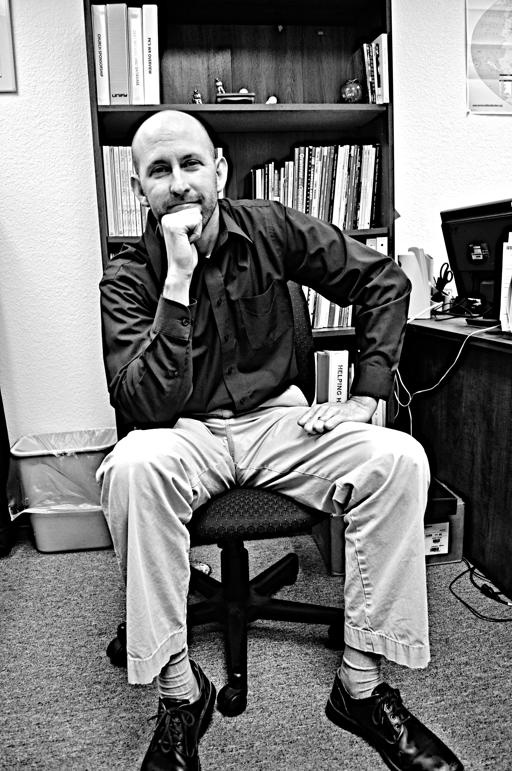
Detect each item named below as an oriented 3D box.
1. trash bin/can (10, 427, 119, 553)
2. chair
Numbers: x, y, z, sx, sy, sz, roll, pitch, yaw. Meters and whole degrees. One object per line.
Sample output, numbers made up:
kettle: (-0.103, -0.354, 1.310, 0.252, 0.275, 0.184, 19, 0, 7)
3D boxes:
trash bin/can: (-0.654, 0.370, 2.145, 0.308, 0.391, 0.430, -7, 3, -20)
chair: (-0.025, 0.171, 1.311, 0.414, 0.814, 0.431, -2, 9, -7)
